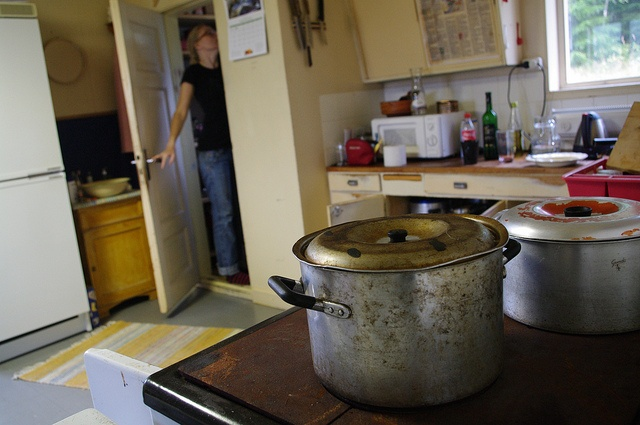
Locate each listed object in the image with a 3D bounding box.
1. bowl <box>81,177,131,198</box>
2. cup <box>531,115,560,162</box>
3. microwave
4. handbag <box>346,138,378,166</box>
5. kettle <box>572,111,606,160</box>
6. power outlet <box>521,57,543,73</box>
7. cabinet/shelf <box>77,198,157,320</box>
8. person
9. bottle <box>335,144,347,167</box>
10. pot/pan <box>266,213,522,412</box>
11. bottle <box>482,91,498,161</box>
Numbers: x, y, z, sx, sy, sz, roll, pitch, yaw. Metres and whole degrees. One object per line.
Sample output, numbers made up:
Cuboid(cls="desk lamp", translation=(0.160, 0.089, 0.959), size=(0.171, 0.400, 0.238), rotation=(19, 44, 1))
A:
Cuboid(cls="bowl", translation=(-1.715, -0.200, 4.021), size=(0.314, 0.114, 0.430), rotation=(-8, 12, -3))
Cuboid(cls="cup", translation=(1.428, -0.499, 3.175), size=(0.161, 0.203, 0.464), rotation=(-1, 14, 23))
Cuboid(cls="microwave", translation=(0.729, -0.499, 3.521), size=(0.517, 0.288, 0.370), rotation=(4, 12, 43))
Cuboid(cls="handbag", translation=(0.300, -0.435, 3.588), size=(0.211, 0.185, 0.115), rotation=(-2, 6, 31))
Cuboid(cls="kettle", translation=(1.515, -0.432, 2.794), size=(0.156, 0.255, 0.475), rotation=(-1, 14, 24))
Cuboid(cls="power outlet", translation=(1.414, -0.994, 3.329), size=(0.136, 0.073, 0.050), rotation=(6, 21, 41))
Cuboid(cls="cabinet/shelf", translation=(-1.540, 0.374, 4.201), size=(0.749, 0.954, 0.721), rotation=(-7, -16, -31))
Cuboid(cls="person", translation=(-0.903, -0.393, 3.895), size=(0.499, 2.048, 0.549), rotation=(-9, 13, -8))
Cuboid(cls="bottle", translation=(0.152, -0.435, 3.693), size=(0.076, 0.153, 0.172), rotation=(-6, 13, 3))
Cuboid(cls="pot/pan", translation=(0.177, 0.182, 1.055), size=(0.548, 0.277, 0.376), rotation=(-7, 11, -17))
Cuboid(cls="bottle", translation=(1.142, -0.592, 3.366), size=(0.085, 0.431, 0.320), rotation=(-3, 14, 19))
